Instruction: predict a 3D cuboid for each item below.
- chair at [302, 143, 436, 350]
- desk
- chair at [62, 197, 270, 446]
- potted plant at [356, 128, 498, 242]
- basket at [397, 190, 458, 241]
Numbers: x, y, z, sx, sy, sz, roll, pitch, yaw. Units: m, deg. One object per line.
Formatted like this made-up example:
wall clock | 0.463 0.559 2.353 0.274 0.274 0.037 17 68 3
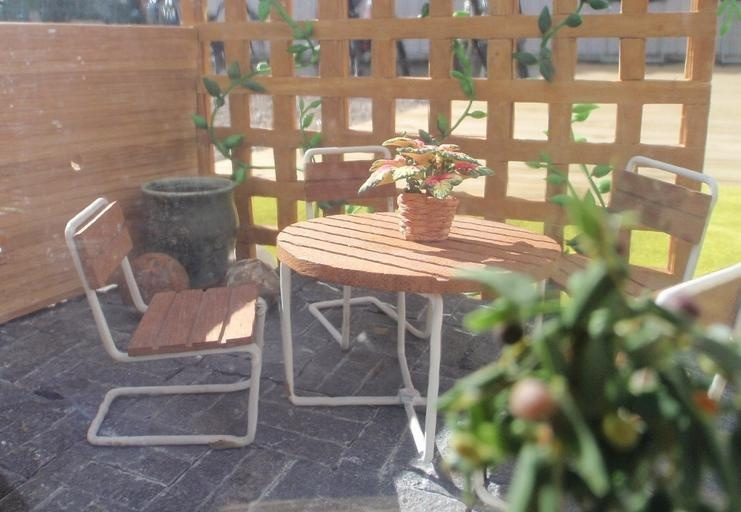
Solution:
chair | -0.109 -0.069 3.172 0.627 0.949 0.689 -4 17 -12
desk | 0.140 0.330 2.724 0.981 1.031 1.327 -15 12 -43
chair | -0.881 0.284 2.706 0.807 0.968 0.658 2 15 -12
potted plant | 0.221 -0.297 2.463 0.504 0.373 0.461 7 20 23
basket | 0.235 -0.166 2.501 0.212 0.161 0.224 0 9 -11
